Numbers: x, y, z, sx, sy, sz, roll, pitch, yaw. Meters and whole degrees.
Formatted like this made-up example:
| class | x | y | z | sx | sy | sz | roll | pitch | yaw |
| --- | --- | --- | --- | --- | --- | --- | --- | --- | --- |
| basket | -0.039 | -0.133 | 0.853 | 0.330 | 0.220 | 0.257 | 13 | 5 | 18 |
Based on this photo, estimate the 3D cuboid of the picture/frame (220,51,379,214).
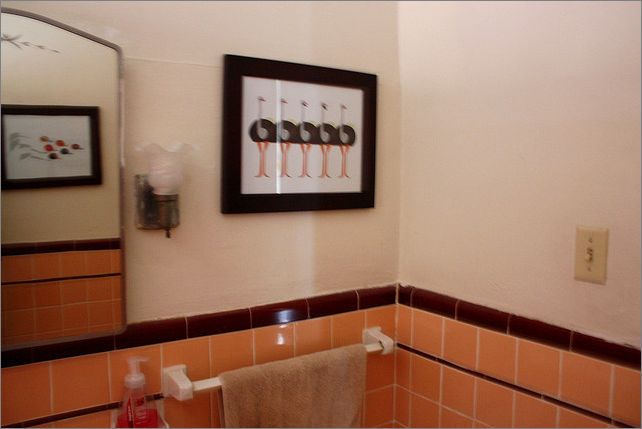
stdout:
| class | x | y | z | sx | sy | sz | roll | pitch | yaw |
| --- | --- | --- | --- | --- | --- | --- | --- | --- | --- |
| picture/frame | -0.096 | -0.293 | 1.733 | 0.612 | 0.500 | 0.050 | -2 | 5 | -29 |
